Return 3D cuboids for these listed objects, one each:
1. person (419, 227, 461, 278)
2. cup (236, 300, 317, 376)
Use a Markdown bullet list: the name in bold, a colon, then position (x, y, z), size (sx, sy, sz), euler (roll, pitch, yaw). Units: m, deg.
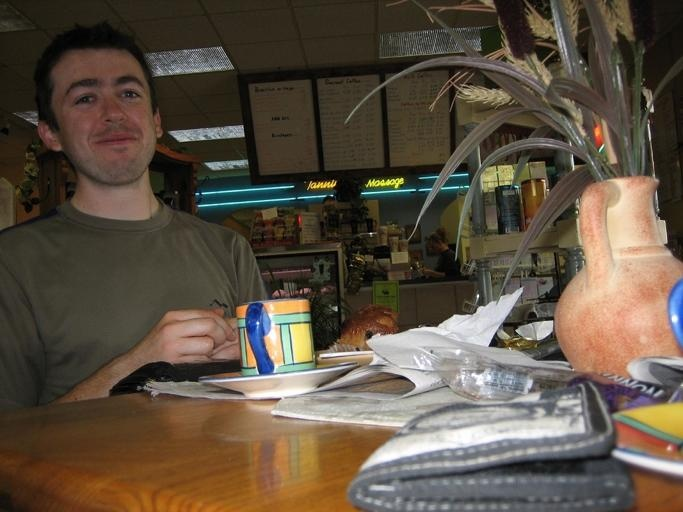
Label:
- **person**: position (1.307, 0.022, 7.008), size (0.560, 0.910, 0.960), euler (0, -9, 8)
- **cup**: position (-0.092, 0.124, 0.829), size (0.092, 0.093, 0.124), euler (-4, 1, 18)
